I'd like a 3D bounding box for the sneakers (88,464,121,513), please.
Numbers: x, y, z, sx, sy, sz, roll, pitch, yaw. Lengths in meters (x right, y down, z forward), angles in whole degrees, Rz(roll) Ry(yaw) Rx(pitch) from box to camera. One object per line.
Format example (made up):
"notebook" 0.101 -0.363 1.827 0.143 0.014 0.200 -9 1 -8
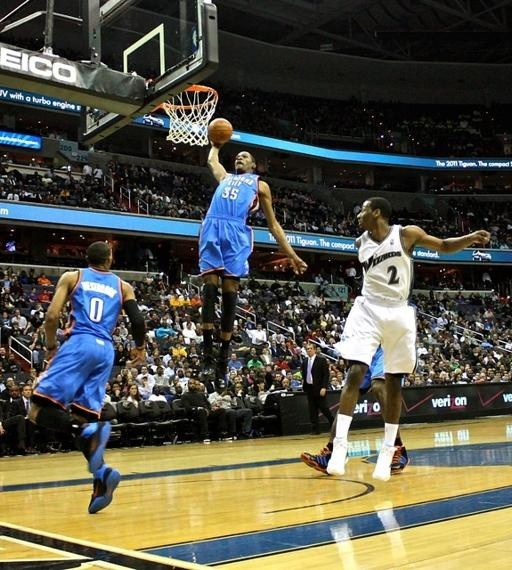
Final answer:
"sneakers" -0.835 1.114 3.074 0.141 0.268 0.184 2 3 -27

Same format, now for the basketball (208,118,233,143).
"basketball" -0.290 -1.225 4.501 0.180 0.209 0.296 2 2 -6

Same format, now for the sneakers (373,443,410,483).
"sneakers" 1.034 1.293 4.189 0.221 0.212 0.572 -3 -8 17
